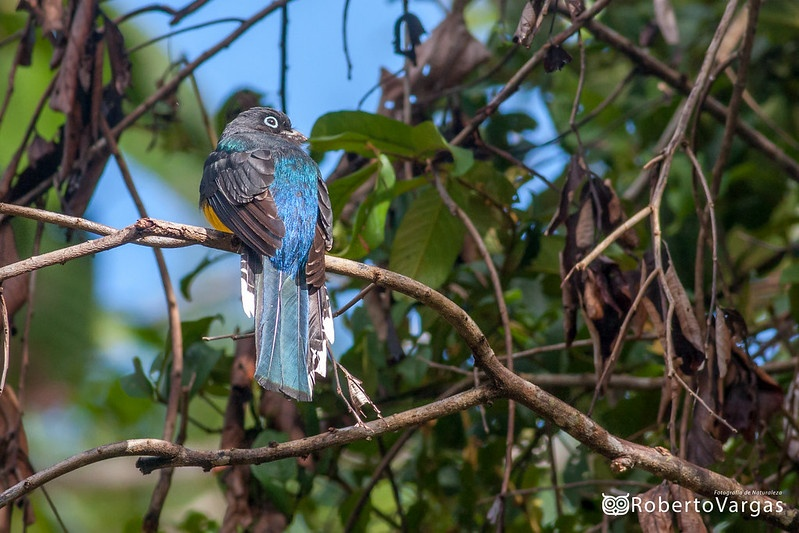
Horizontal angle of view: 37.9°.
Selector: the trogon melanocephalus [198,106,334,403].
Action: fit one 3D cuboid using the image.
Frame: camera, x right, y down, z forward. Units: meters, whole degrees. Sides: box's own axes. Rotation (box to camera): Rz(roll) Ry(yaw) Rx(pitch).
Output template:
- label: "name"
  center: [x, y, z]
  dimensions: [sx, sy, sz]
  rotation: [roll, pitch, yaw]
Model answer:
- label: "trogon melanocephalus"
  center: [-0.981, -0.201, 8.592]
  dimensions: [0.989, 2.656, 0.715]
  rotation: [8, -47, -15]
